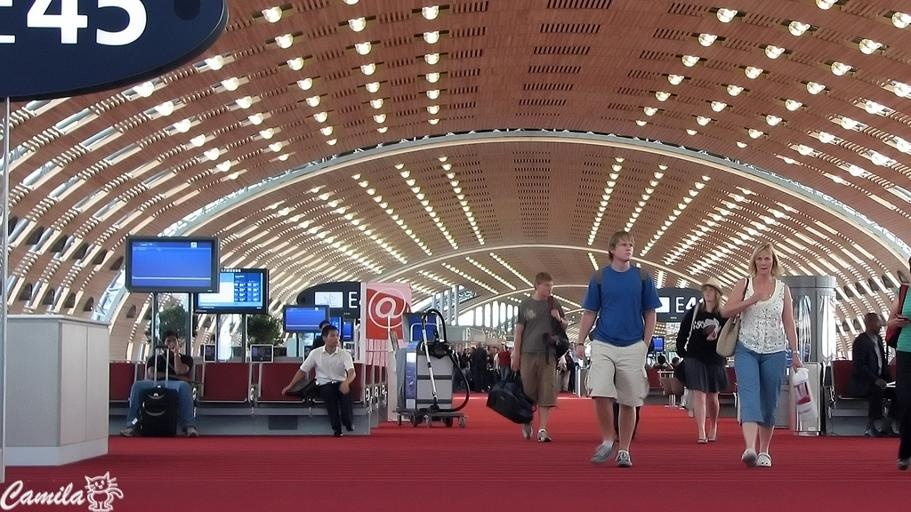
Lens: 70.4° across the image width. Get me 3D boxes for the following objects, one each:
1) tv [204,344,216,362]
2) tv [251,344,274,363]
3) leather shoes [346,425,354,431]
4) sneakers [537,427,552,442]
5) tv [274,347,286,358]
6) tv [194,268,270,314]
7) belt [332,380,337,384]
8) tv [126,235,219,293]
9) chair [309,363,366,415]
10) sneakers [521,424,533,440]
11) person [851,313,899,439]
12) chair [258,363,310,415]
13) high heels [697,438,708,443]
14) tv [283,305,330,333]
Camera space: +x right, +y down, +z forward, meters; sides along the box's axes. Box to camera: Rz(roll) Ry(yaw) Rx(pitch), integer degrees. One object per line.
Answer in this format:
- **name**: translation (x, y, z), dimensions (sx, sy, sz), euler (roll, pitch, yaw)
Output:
- **tv**: translation (-10.497, 4.120, 27.787), dimensions (0.485, 0.796, 2.675), euler (5, -14, -21)
- **tv**: translation (-8.190, 4.083, 27.374), dimensions (1.193, 0.645, 0.541), euler (-7, -16, 26)
- **leather shoes**: translation (-2.117, 3.482, 13.114), dimensions (0.127, 0.094, 0.116), euler (0, -2, 9)
- **sneakers**: translation (1.635, 3.244, 11.683), dimensions (0.182, 0.182, 0.439), euler (2, -15, -3)
- **tv**: translation (-7.945, 4.381, 29.477), dimensions (0.865, 0.372, 0.537), euler (3, -1, -17)
- **tv**: translation (-5.955, 0.962, 17.188), dimensions (1.709, 0.839, 0.151), euler (0, -12, -5)
- **belt**: translation (-2.461, 2.563, 13.172), dimensions (0.081, 0.028, 0.103), euler (0, -1, -20)
- **tv**: translation (-5.851, 0.185, 13.313), dimensions (1.438, 0.703, 0.173), euler (0, -10, -7)
- **chair**: translation (-2.226, 2.742, 13.514), dimensions (0.686, 0.964, 0.595), euler (0, 3, -11)
- **sneakers**: translation (1.344, 3.240, 11.828), dimensions (0.238, 0.389, 0.171), euler (0, 2, -6)
- **person**: translation (8.340, 2.317, 12.756), dimensions (0.917, 2.143, 0.878), euler (1, -1, -32)
- **chair**: translation (-3.579, 2.743, 13.852), dimensions (1.175, 0.823, 1.004), euler (2, -4, -3)
- **high heels**: translation (4.403, 3.282, 11.471), dimensions (0.120, 0.091, 0.243), euler (-1, -11, 3)
- **tv**: translation (-5.959, 2.509, 25.922), dimensions (2.270, 1.071, 0.196), euler (0, -10, 1)
